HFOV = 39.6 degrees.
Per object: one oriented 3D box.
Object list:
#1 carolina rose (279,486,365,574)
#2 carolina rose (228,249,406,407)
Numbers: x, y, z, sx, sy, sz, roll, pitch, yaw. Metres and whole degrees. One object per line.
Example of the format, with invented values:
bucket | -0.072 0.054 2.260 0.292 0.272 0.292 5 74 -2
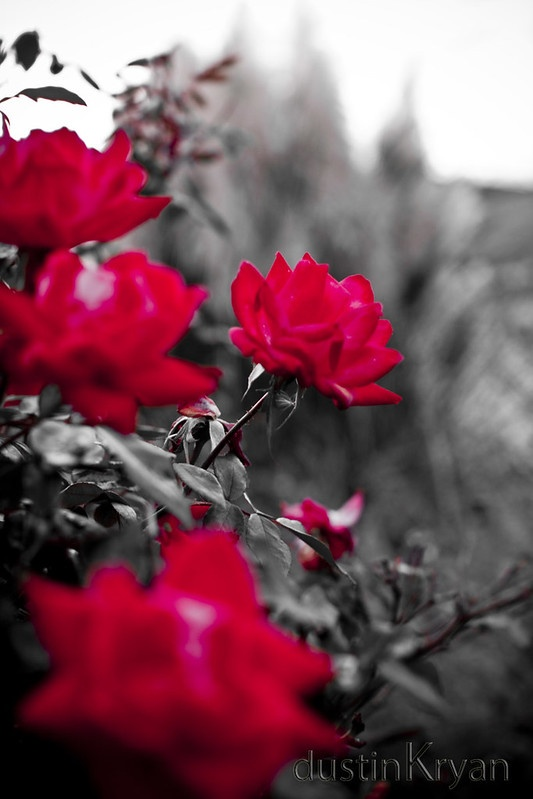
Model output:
carolina rose | 0.054 0.101 0.638 0.056 0.083 0.075 18 66 -4
carolina rose | 0.021 -0.034 0.343 0.075 0.071 0.083 -5 44 1
